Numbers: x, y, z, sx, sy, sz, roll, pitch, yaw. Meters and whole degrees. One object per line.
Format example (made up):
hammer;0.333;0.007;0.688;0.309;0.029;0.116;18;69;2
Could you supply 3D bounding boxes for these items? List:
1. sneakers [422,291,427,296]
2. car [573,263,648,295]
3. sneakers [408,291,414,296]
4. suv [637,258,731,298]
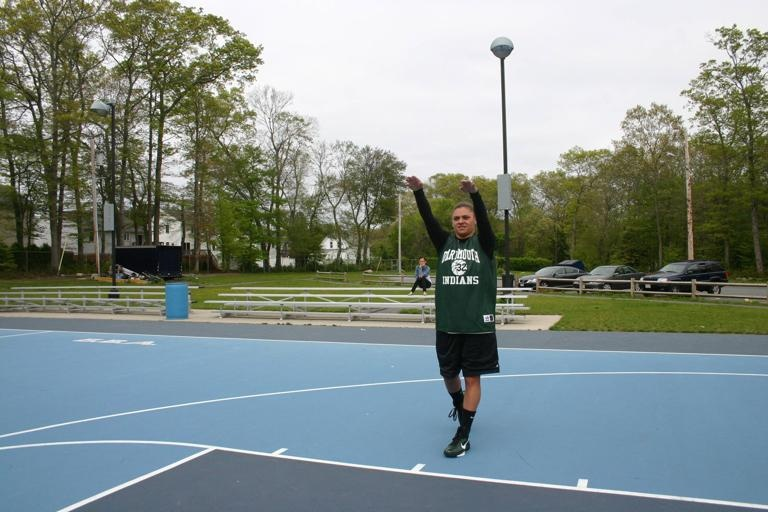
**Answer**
sneakers;1.737;1.561;28.857;0.107;0.206;0.334;-3;-14;7
car;11.685;1.221;35.625;2.828;1.058;4.203;4;11;29
sneakers;1.202;1.617;29.515;0.125;0.170;0.390;-3;-12;13
suv;14.903;0.871;33.563;4.401;1.814;2.055;4;-8;-26
